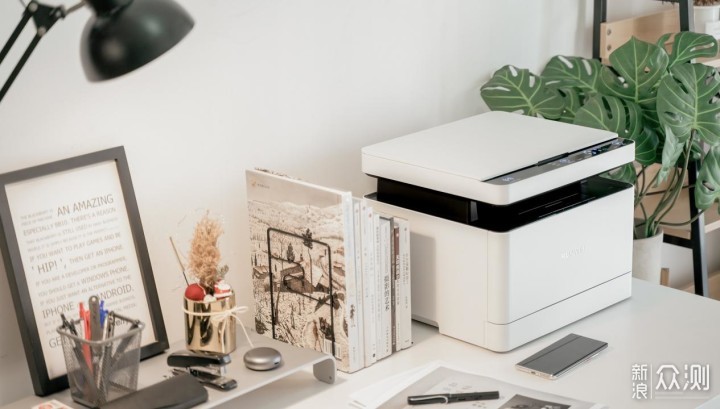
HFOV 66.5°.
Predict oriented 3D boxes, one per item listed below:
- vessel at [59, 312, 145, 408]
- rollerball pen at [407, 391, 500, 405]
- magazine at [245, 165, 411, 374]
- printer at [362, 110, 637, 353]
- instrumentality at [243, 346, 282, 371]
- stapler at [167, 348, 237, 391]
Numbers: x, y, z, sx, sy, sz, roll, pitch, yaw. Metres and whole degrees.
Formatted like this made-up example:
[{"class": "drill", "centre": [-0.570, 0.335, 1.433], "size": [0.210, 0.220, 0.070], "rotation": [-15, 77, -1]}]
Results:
[{"class": "vessel", "centre": [-0.646, 0.389, 1.373], "size": [0.199, 0.221, 0.105], "rotation": [-2, -11, -16]}, {"class": "rollerball pen", "centre": [0.243, 0.503, 1.432], "size": [0.241, 0.023, 0.019], "rotation": [-5, -10, 0]}, {"class": "magazine", "centre": [-0.088, 0.204, 1.569], "size": [0.456, 0.598, 0.331], "rotation": [13, 20, 41]}, {"class": "printer", "centre": [0.459, 0.066, 1.859], "size": [0.724, 0.493, 0.658], "rotation": [-11, 16, -29]}, {"class": "instrumentality", "centre": [-0.259, 0.411, 1.463], "size": [0.068, 0.025, 0.068], "rotation": [2, 15, 2]}, {"class": "stapler", "centre": [-0.415, 0.437, 1.458], "size": [0.203, 0.106, 0.067], "rotation": [-8, -11, 14]}]
